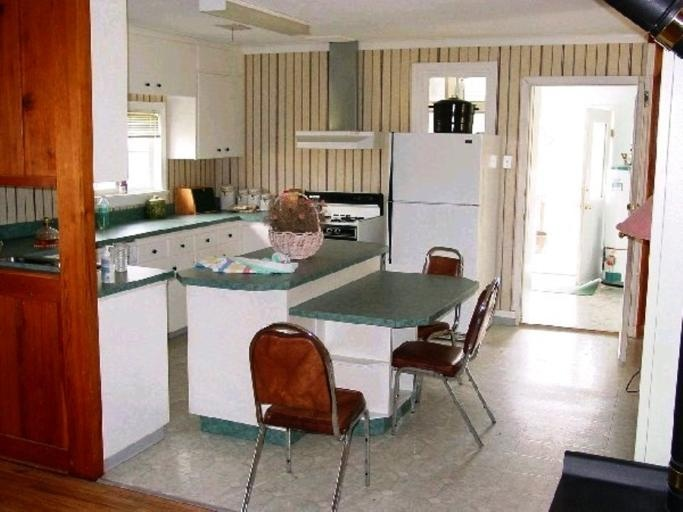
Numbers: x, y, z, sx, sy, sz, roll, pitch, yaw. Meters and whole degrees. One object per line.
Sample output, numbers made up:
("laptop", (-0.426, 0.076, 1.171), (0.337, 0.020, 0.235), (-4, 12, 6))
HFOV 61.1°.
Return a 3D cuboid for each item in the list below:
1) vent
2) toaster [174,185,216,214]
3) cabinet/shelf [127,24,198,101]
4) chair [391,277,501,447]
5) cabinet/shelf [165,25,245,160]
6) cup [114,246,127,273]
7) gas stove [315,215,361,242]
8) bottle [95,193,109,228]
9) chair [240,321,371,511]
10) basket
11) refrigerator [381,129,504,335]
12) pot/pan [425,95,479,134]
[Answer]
("vent", (0.048, -1.794, 6.469), (0.997, 1.193, 0.515), (6, 13, 21))
("toaster", (-1.715, -0.728, 6.754), (0.323, 0.325, 0.562), (2, 7, 22))
("cabinet/shelf", (-2.096, -2.058, 6.085), (0.639, 0.613, 1.092), (16, 19, 19))
("chair", (0.741, 0.650, 4.005), (0.714, 1.103, 0.814), (4, 12, 16))
("cabinet/shelf", (-1.735, -1.851, 6.718), (1.234, 1.283, 0.497), (-12, 30, -30))
("cup", (-1.399, 0.019, 3.669), (0.077, 0.165, 0.061), (-7, 15, -32))
("gas stove", (0.023, -0.284, 6.236), (0.426, 0.374, 0.278), (2, 4, 26))
("bottle", (-2.274, -0.410, 5.466), (0.114, 0.298, 0.215), (-4, 13, -19))
("chair", (-0.183, 0.820, 3.025), (0.578, 1.084, 0.515), (4, 13, 13))
("basket", (-0.329, -0.237, 4.287), (0.430, 0.464, 0.407), (1, 7, 9))
("refrigerator", (1.100, -0.443, 6.435), (1.301, 1.756, 1.282), (-19, 35, -22))
("pot/pan", (1.188, -1.519, 6.306), (0.554, 0.398, 0.526), (0, 9, -4))
